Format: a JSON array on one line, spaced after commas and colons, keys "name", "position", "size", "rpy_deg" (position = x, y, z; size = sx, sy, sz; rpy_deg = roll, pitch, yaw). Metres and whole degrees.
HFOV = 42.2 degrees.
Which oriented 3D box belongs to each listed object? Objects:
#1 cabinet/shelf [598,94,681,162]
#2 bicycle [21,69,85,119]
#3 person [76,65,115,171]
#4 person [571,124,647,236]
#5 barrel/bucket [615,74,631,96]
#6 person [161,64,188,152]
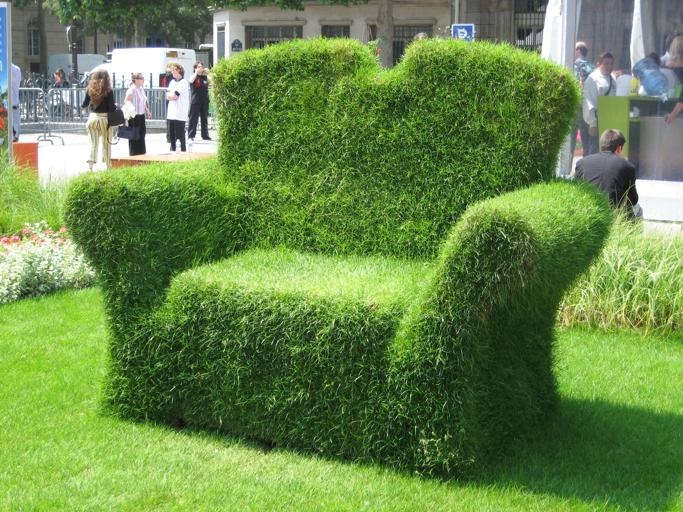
[{"name": "cabinet/shelf", "position": [3.094, -1.370, 9.608], "size": [0.367, 0.613, 0.758], "rpy_deg": [5, 10, 41]}, {"name": "bicycle", "position": [-6.622, -3.605, 20.115], "size": [1.370, 0.946, 2.316], "rpy_deg": [-9, 16, -32]}, {"name": "person", "position": [-3.597, -2.003, 13.237], "size": [0.459, 1.574, 2.157], "rpy_deg": [-4, 13, -16]}, {"name": "person", "position": [2.298, -0.595, 7.667], "size": [0.622, 0.913, 0.620], "rpy_deg": [9, -5, -42]}, {"name": "barrel/bucket", "position": [3.027, -1.824, 9.540], "size": [0.199, 0.345, 0.163], "rpy_deg": [2, 6, 24]}, {"name": "person", "position": [-2.818, -2.558, 15.323], "size": [0.389, 1.520, 0.814], "rpy_deg": [-3, 11, -10]}]
